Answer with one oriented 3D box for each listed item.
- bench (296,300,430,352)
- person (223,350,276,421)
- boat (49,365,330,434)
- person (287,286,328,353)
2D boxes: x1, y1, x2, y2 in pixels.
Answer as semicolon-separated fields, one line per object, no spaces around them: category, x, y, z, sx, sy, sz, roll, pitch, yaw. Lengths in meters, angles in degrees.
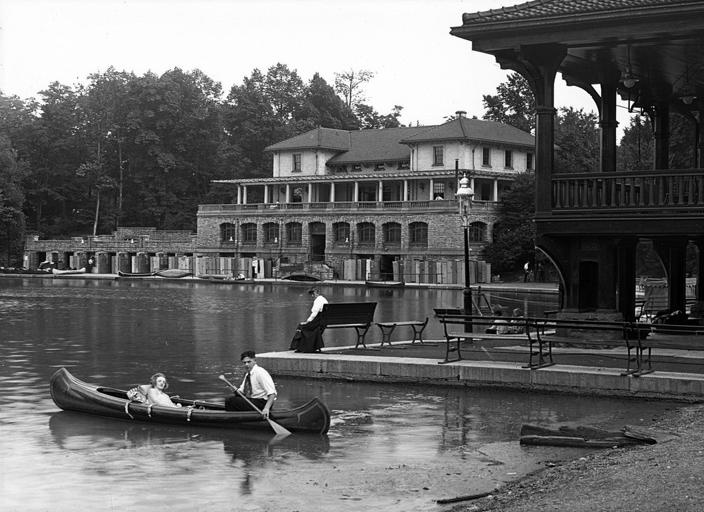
bench;-0.759;1.974;36.912;3.070;1.422;3.291;1;0;-43
person;-2.083;2.865;29.159;1.154;1.425;1.052;2;0;43
boat;-4.785;3.503;30.075;10.008;1.535;1.978;1;-7;19
person;-1.178;1.758;35.232;1.099;1.665;0.808;0;0;8
